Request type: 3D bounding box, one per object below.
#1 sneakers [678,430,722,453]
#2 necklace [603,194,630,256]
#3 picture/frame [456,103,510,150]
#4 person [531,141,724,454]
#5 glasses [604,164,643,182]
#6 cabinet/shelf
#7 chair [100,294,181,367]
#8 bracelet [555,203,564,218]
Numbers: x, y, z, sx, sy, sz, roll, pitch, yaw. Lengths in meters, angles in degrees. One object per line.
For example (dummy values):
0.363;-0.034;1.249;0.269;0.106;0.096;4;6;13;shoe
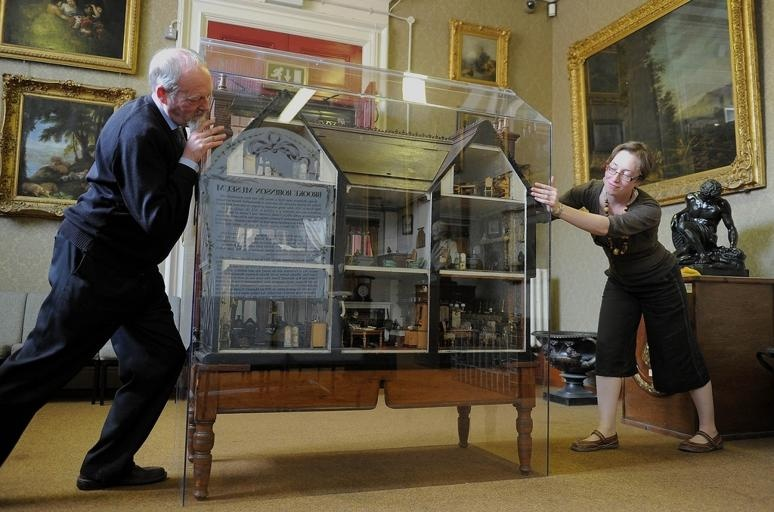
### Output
2.045;1.223;4.258;0.275;0.103;0.123;2;-10;-10;sneakers
1.453;-0.191;4.118;0.152;0.384;0.203;2;2;23;necklace
0.506;-0.694;3.495;0.273;0.176;0.013;8;-17;-23;picture/frame
1.576;0.391;4.193;1.211;1.735;0.472;0;2;-24;person
1.443;-0.488;3.949;0.130;0.037;0.124;14;-2;-44;glasses
-0.197;0.178;3.341;2.311;2.131;1.148;1;0;-9;cabinet/shelf
-1.291;0.388;3.404;0.384;0.346;0.257;1;-10;-11;chair
0.973;-0.259;3.658;0.050;0.051;0.048;-35;35;-7;bracelet
